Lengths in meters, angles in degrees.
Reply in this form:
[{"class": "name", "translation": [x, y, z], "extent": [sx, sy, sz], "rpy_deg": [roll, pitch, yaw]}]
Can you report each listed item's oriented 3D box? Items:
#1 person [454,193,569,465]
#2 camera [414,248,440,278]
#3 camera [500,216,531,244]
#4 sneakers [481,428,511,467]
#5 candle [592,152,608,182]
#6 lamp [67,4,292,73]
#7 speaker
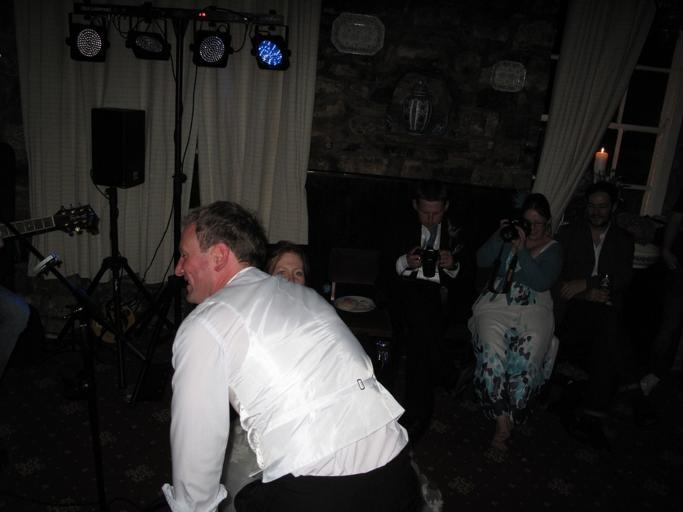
[{"class": "person", "translation": [1.290, 0.425, 4.050], "extent": [0.632, 1.691, 1.013], "rpy_deg": [12, 18, 32]}, {"class": "camera", "translation": [0.668, 0.051, 4.169], "extent": [0.197, 0.231, 0.080], "rpy_deg": [1, 4, 12]}, {"class": "camera", "translation": [1.329, -0.199, 4.105], "extent": [0.191, 0.191, 0.196], "rpy_deg": [-15, -31, 32]}, {"class": "sneakers", "translation": [1.092, 1.356, 3.775], "extent": [0.254, 0.416, 0.104], "rpy_deg": [10, 47, 23]}, {"class": "candle", "translation": [2.398, -0.829, 4.969], "extent": [0.107, 0.271, 0.225], "rpy_deg": [10, 17, 24]}, {"class": "lamp", "translation": [-1.367, -1.878, 4.533], "extent": [1.844, 0.517, 0.637], "rpy_deg": [1, 15, -6]}, {"class": "speaker", "translation": [-1.777, -0.859, 4.297], "extent": [0.403, 0.587, 0.402], "rpy_deg": [-3, 15, -31]}]
